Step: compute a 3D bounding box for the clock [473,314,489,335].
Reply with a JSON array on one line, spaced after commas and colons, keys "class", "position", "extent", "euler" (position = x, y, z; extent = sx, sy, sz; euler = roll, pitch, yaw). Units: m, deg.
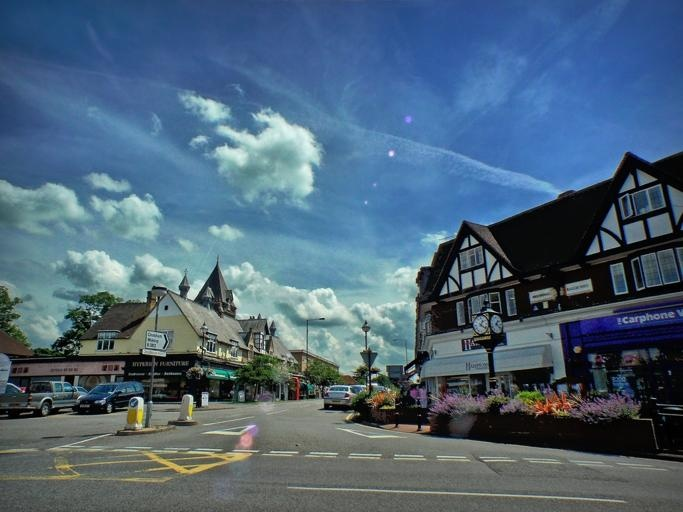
[{"class": "clock", "position": [6.477, 3.149, 19.676], "extent": [0.101, 0.965, 0.948], "euler": [12, -10, -18]}]

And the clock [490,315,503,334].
[{"class": "clock", "position": [7.040, 3.119, 19.411], "extent": [0.737, 0.738, 0.066], "euler": [15, -19, -34]}]

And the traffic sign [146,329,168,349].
[{"class": "traffic sign", "position": [-7.429, 3.370, 17.069], "extent": [0.463, 0.725, 1.137], "euler": [-4, -20, 17]}]

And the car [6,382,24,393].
[{"class": "car", "position": [-19.509, 7.923, 25.422], "extent": [0.777, 0.645, 3.285], "euler": [16, -24, -35]}]

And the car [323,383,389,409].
[{"class": "car", "position": [0.232, 11.946, 36.233], "extent": [2.380, 1.949, 3.382], "euler": [-16, -26, 42]}]
